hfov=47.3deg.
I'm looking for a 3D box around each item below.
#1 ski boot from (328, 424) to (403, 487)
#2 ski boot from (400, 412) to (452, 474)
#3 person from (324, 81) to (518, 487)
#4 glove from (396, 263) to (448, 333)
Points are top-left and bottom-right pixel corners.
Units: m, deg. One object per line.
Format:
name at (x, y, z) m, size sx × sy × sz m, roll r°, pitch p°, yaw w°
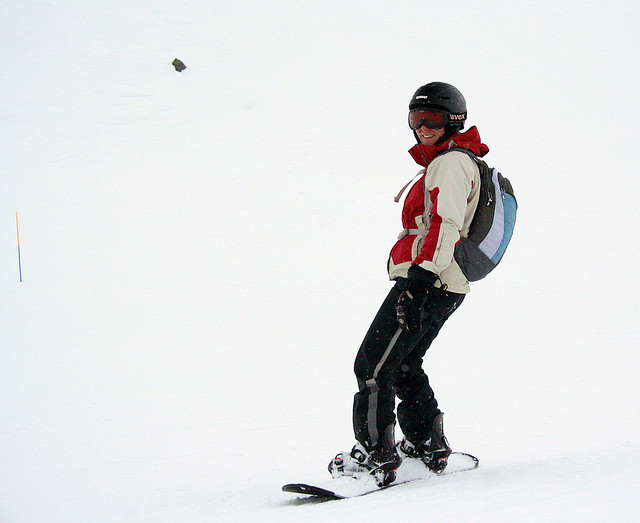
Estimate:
ski boot at (0.338, 1.544, 5.772) m, size 0.654 × 0.461 × 0.232 m, roll -8°, pitch -10°, yaw 31°
ski boot at (0.861, 1.427, 5.934) m, size 0.201 × 0.443 × 0.571 m, roll 2°, pitch 4°, yaw -27°
person at (0.824, 0.197, 5.728) m, size 0.776 × 2.970 × 1.259 m, roll 13°, pitch -23°, yaw -35°
glove at (0.763, 0.283, 5.581) m, size 0.482 × 0.486 × 0.317 m, roll 6°, pitch 14°, yaw -13°
